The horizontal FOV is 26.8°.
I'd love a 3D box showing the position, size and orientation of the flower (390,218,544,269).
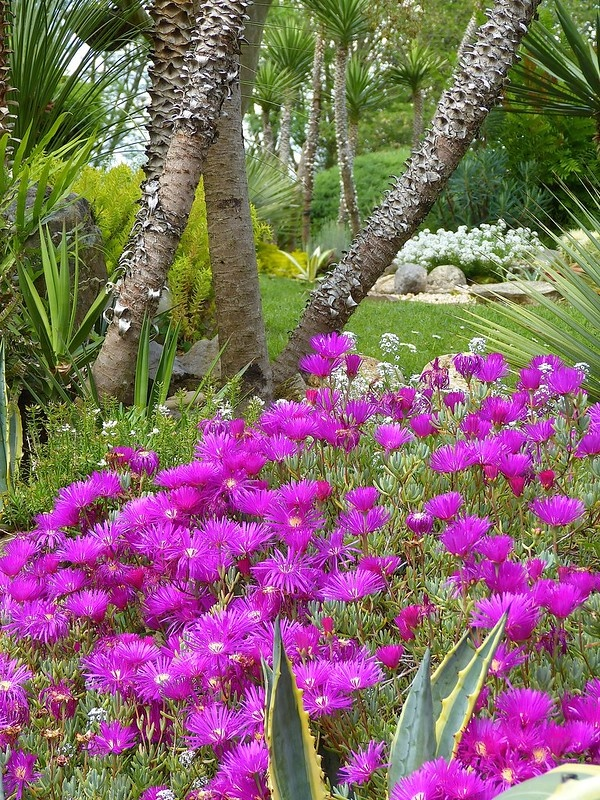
[{"bbox_3d":[1.729,-1.535,12.739,0.981,0.454,2.062,-5,7,-18],"label":"flower"}]
